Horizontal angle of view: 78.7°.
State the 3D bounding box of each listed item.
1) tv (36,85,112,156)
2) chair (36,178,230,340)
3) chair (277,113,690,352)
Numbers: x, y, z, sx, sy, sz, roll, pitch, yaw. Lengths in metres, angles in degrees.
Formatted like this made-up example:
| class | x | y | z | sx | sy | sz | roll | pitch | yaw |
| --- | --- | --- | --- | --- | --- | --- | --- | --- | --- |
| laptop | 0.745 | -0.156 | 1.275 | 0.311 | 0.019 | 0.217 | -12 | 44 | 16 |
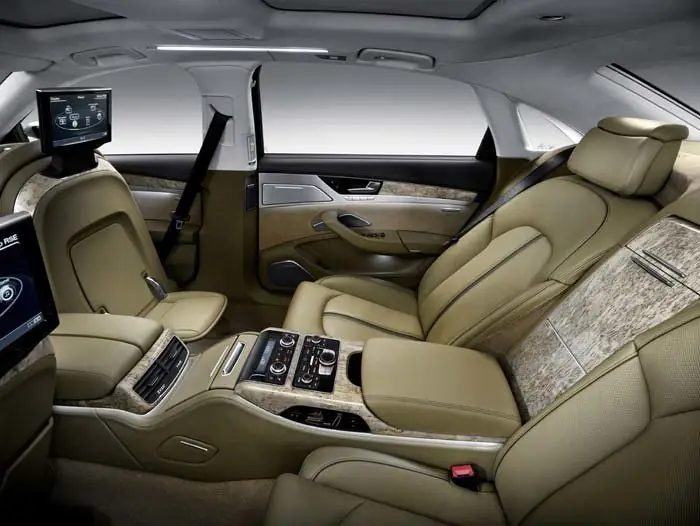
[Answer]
| class | x | y | z | sx | sy | sz | roll | pitch | yaw |
| --- | --- | --- | --- | --- | --- | --- | --- | --- | --- |
| tv | -1.008 | -0.529 | 1.593 | 0.054 | 0.246 | 0.324 | 18 | 23 | 7 |
| chair | -0.842 | -0.019 | 1.780 | 0.573 | 0.634 | 0.671 | 7 | 24 | 2 |
| chair | 0.369 | -0.103 | 1.749 | 1.210 | 0.760 | 0.853 | 6 | 13 | 2 |
